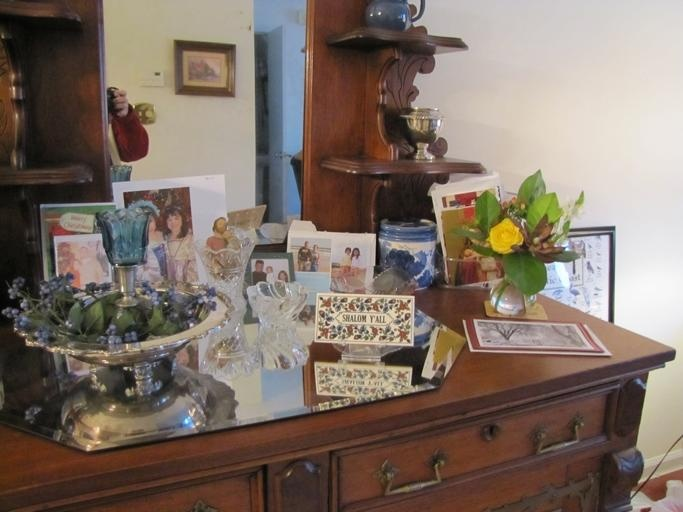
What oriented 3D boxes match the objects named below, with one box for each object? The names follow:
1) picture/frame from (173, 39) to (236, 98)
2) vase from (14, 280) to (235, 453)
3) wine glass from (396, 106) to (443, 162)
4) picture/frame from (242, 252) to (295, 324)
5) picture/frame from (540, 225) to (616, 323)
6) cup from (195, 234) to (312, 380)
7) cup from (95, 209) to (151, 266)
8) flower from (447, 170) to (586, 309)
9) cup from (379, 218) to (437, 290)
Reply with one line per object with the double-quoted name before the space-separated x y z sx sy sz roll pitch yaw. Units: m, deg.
"picture/frame" -0.376 -0.513 1.606 0.158 0.137 0.023 -2 9 -22
"vase" -0.446 0.282 1.287 0.370 0.239 0.378 0 25 -12
"wine glass" 0.238 -0.376 1.817 0.143 0.158 0.143 -2 17 -3
"picture/frame" -0.197 0.088 1.572 0.181 0.219 0.015 -1 9 -15
"picture/frame" 0.823 0.049 2.070 0.345 0.434 0.018 -7 25 -17
"cup" -0.233 0.139 1.508 0.305 0.354 0.163 -2 -5 -17
"cup" -0.491 -0.035 1.340 0.119 0.124 0.118 -2 -3 0
"flower" 0.476 0.007 1.620 0.251 0.298 0.306 -11 26 -5
"cup" 0.197 -0.009 1.829 0.179 0.204 0.189 0 7 0
